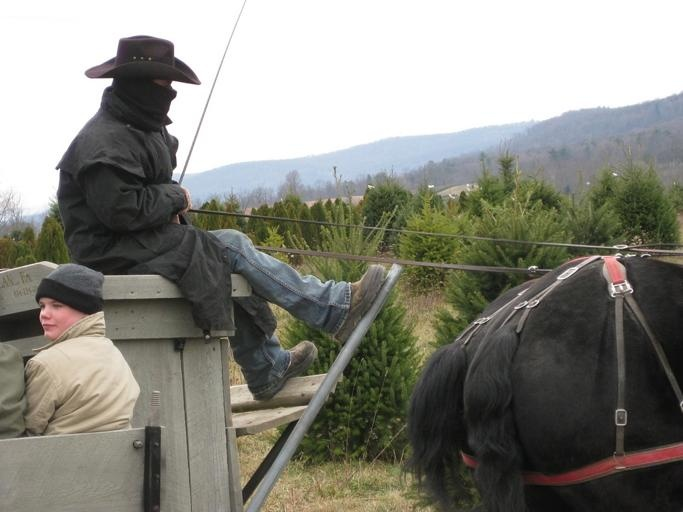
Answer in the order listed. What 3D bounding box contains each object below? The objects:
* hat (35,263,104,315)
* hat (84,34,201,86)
[{"bbox_3d":[-1.318,0.198,3.527,0.267,0.210,0.261,16,-12,-24],"label":"hat"},{"bbox_3d":[-1.195,-1.265,4.563,0.626,0.244,0.525,3,24,-14],"label":"hat"}]
